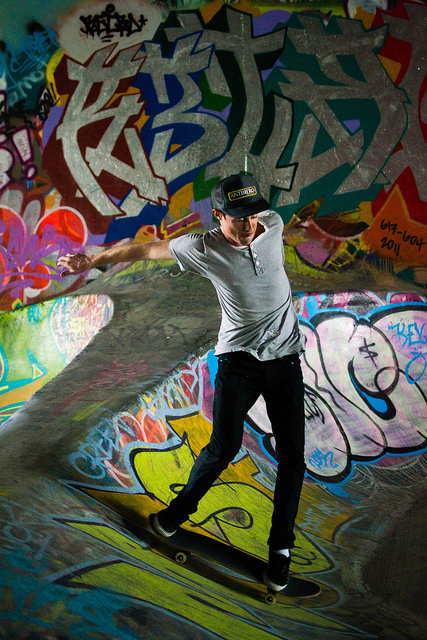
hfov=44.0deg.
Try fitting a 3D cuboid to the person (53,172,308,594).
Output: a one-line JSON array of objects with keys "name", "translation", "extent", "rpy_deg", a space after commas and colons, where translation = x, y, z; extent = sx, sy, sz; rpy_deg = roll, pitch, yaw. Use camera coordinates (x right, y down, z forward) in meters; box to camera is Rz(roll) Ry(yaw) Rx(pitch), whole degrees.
[{"name": "person", "translation": [-0.002, 0.334, 3.137], "extent": [1.135, 2.343, 0.576], "rpy_deg": [3, 6, 10]}]

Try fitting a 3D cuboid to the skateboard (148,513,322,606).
[{"name": "skateboard", "translation": [0.102, 1.439, 3.140], "extent": [1.164, 0.178, 0.307], "rpy_deg": [18, 10, 9]}]
